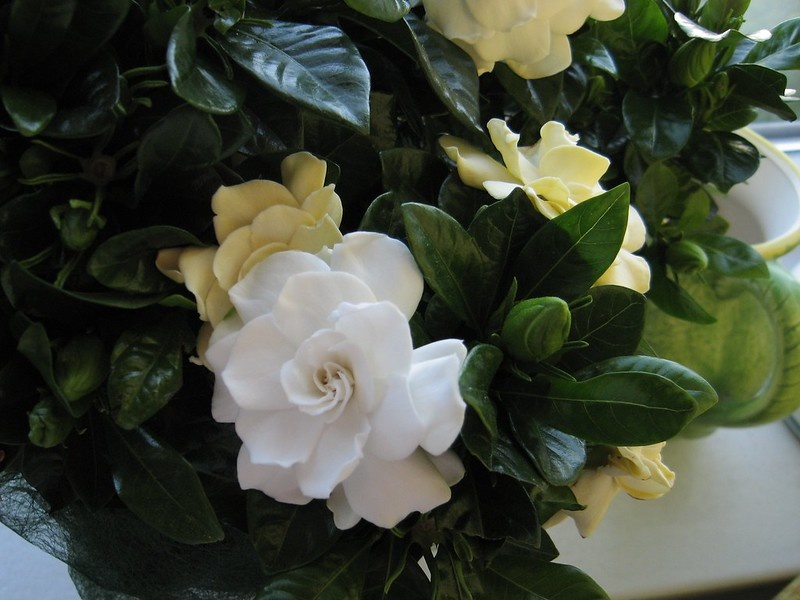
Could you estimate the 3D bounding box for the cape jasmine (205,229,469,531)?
[{"bbox_3d":[-0.047,0.067,0.579,0.139,0.169,0.209,-19,61,-41],"label":"cape jasmine"}]
